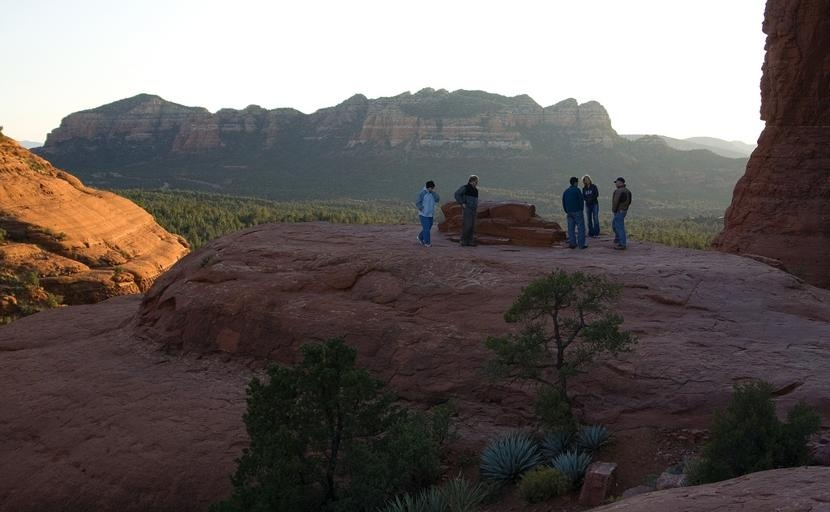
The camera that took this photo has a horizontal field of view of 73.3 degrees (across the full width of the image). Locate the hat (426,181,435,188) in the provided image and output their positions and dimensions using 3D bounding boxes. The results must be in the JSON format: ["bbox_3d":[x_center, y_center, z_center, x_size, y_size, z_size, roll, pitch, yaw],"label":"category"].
[{"bbox_3d":[0.445,-2.164,16.759,0.224,0.160,0.194,-22,-42,7],"label":"hat"}]

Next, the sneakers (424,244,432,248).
[{"bbox_3d":[0.365,-0.295,16.962,0.120,0.098,0.253,-2,2,-17],"label":"sneakers"}]

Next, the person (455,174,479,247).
[{"bbox_3d":[1.597,-1.395,17.472,0.722,2.184,1.536,5,5,6],"label":"person"}]
